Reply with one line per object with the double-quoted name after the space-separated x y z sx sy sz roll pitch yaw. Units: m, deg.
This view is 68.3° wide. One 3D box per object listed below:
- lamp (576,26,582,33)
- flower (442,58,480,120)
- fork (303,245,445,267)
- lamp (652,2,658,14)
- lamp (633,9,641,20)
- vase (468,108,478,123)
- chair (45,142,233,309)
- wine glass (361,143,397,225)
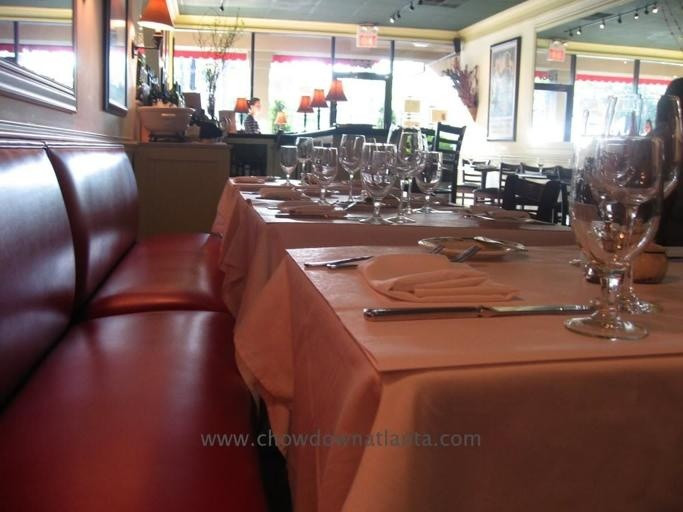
4.233 -4.030 8.957 0.060 0.115 0.096 -1 9 8 "lamp"
2.564 -3.606 10.817 0.449 1.294 0.915 0 12 -27 "flower"
0.071 0.001 1.078 0.197 0.026 0.030 -3 28 -32 "fork"
4.852 -3.825 7.792 0.076 0.091 0.185 -2 24 20 "lamp"
4.696 -3.858 8.004 0.056 0.118 0.073 -13 31 -12 "lamp"
2.806 -3.014 10.721 0.180 0.272 0.106 9 11 18 "vase"
-0.953 -0.173 2.421 0.407 0.509 0.931 -1 13 -15 "chair"
0.113 -0.239 1.634 0.107 0.251 0.276 5 11 1 "wine glass"
